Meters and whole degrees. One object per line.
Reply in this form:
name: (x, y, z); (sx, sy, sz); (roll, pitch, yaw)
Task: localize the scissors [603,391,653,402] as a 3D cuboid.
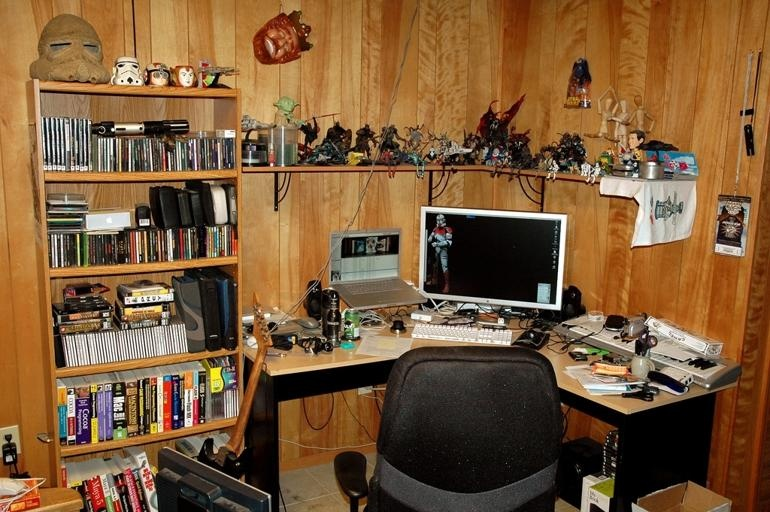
scissors: (1.149, 0.666, 2.872); (0.201, 0.005, 0.072); (-3, 34, 8)

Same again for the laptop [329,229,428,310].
laptop: (-0.075, 0.070, 3.699); (0.606, 0.435, 0.494); (-4, 14, -27)

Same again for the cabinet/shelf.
cabinet/shelf: (-1.306, 0.087, 3.254); (1.094, 1.982, 0.434); (-6, 10, -23)

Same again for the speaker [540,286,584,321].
speaker: (1.057, 0.285, 3.716); (0.213, 0.198, 0.219); (-4, 6, -30)

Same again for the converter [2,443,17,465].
converter: (-1.987, 1.047, 3.196); (0.073, 0.120, 0.064); (-8, 10, -32)

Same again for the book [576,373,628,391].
book: (1.052, 0.615, 2.938); (0.225, 0.048, 0.109); (-2, 9, 3)

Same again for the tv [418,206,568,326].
tv: (0.625, 0.054, 3.553); (0.699, 0.485, 0.061); (4, 7, 18)
